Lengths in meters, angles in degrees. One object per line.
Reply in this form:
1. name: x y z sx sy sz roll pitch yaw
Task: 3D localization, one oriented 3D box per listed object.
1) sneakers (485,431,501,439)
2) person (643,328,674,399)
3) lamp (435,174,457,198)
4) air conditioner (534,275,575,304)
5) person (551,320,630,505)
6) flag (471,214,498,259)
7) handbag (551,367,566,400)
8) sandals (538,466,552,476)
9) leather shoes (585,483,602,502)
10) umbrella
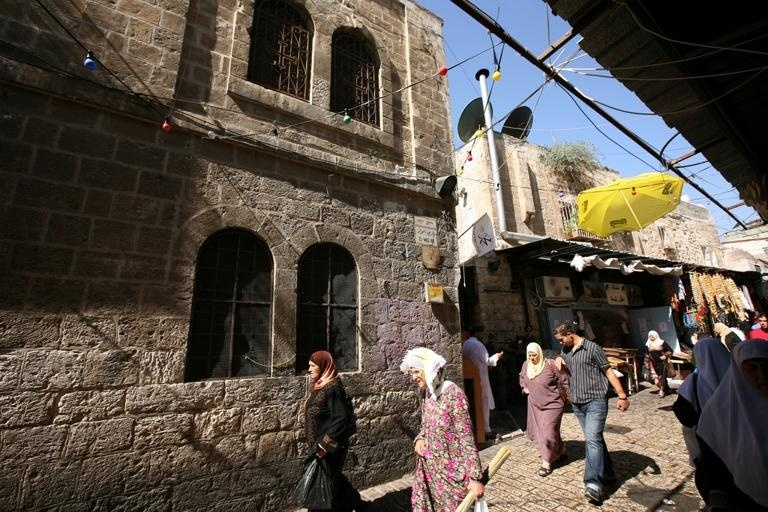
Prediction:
1. sneakers: 2.148 3.496 7.938 0.290 0.118 0.415 -6 -6 12
2. person: 7.045 2.724 10.292 0.565 1.587 0.675 -9 -9 31
3. lamp: 1.222 -1.366 7.919 0.412 0.444 0.463 15 25 6
4. air conditioner: 4.978 0.961 11.736 1.149 0.797 0.325 -2 -8 -23
5. person: 3.017 2.141 5.831 0.812 2.349 0.844 -7 -8 17
6. flag: 2.341 -0.411 9.406 0.131 1.125 0.804 19 -48 -8
7. handbag: 2.787 1.999 6.329 0.162 0.429 0.321 -12 -8 25
8. sandals: 2.479 3.276 6.169 0.226 0.094 0.159 -4 -6 1
9. leather shoes: 2.836 3.192 5.436 0.130 0.158 0.353 -10 -43 43
10. umbrella: 5.763 -1.226 9.459 0.653 1.237 2.094 2 -9 -42
